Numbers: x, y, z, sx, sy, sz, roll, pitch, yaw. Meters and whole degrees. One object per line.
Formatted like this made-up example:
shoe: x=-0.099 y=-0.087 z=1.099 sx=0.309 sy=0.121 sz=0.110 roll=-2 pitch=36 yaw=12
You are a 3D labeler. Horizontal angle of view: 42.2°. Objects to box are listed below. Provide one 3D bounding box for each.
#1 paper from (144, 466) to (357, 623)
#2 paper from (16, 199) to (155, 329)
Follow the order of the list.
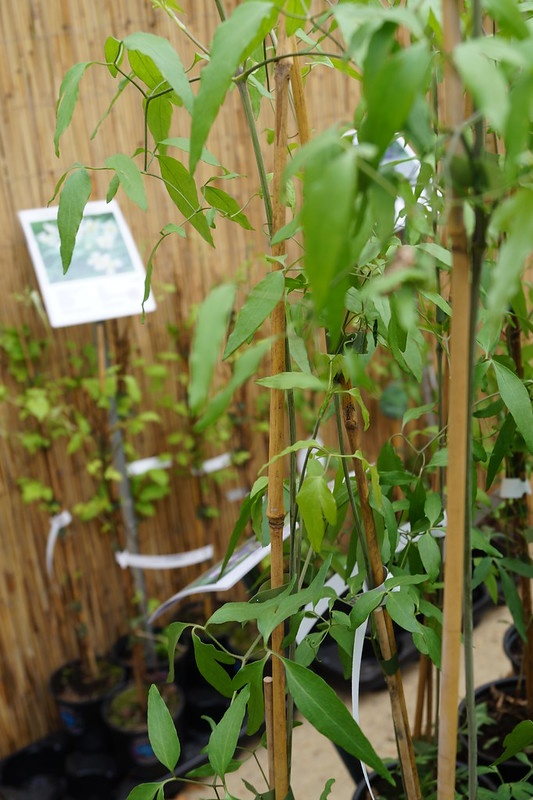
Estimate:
paper: x=-0.019 y=0.209 z=0.861 sx=0.182 sy=0.078 sz=0.215 roll=-30 pitch=0 yaw=28
paper: x=-0.219 y=-0.159 z=0.810 sx=0.181 sy=0.194 sz=0.014 roll=-9 pitch=-19 yaw=-39
